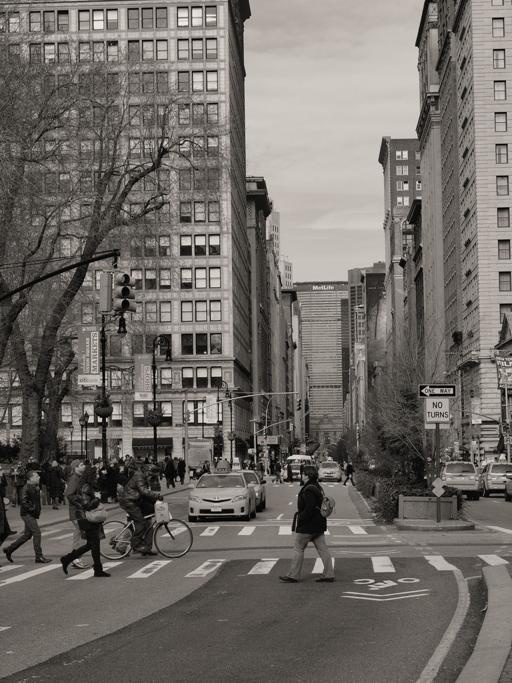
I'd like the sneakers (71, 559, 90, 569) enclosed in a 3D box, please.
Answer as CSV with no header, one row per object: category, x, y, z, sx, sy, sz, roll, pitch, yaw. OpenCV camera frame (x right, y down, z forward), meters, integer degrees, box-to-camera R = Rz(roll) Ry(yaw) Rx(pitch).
sneakers,-2.790,3.560,17.890,0.277,0.189,0.119,1,0,13

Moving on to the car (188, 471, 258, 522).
car,-0.902,4.078,29.395,1.521,1.331,2.218,-6,-8,13

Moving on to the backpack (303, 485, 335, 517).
backpack,0.833,2.121,14.833,0.325,0.459,0.327,-4,-7,10

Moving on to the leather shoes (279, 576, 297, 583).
leather shoes,0.419,3.187,14.982,0.207,0.135,0.093,8,-11,7

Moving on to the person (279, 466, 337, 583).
person,0.743,2.594,15.927,0.695,1.552,2.672,-3,-8,3

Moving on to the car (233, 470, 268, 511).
car,0.026,4.494,34.167,0.638,0.837,1.643,-1,-13,3
